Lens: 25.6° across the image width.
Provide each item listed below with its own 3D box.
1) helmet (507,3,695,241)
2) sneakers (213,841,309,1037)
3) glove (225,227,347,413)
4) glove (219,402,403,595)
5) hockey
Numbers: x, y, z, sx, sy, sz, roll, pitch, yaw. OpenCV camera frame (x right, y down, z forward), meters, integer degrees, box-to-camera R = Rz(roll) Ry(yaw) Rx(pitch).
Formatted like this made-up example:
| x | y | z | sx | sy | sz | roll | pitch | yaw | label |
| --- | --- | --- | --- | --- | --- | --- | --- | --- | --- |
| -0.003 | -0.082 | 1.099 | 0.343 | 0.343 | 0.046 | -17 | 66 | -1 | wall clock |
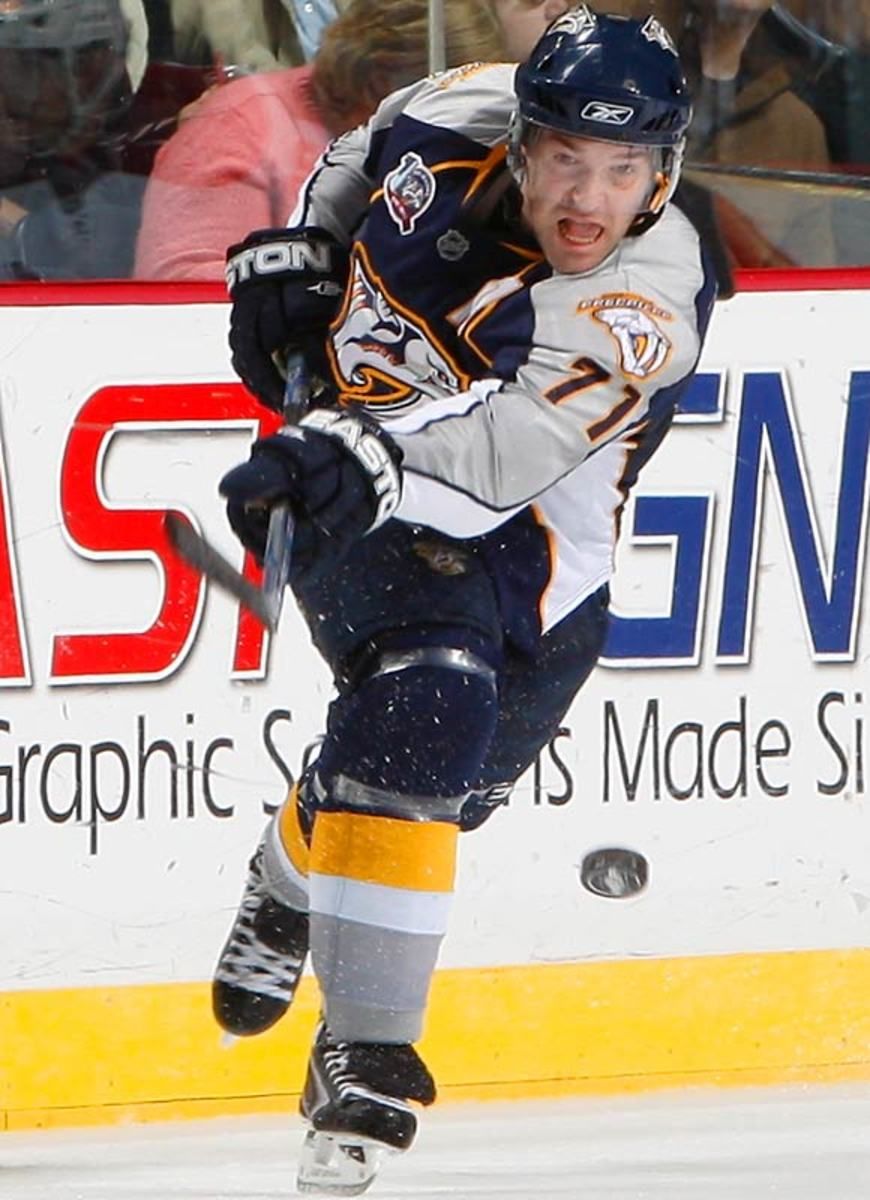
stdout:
| x | y | z | sx | sy | sz | roll | pitch | yaw | label |
| --- | --- | --- | --- | --- | --- | --- | --- | --- | --- |
| 0.214 | -0.640 | 2.557 | 0.235 | 0.299 | 0.172 | 6 | 14 | 10 | helmet |
| -0.287 | 0.553 | 3.004 | 0.124 | 0.319 | 0.136 | 14 | 8 | -14 | sneakers |
| -0.226 | -0.414 | 2.855 | 0.225 | 0.238 | 0.244 | -3 | 2 | -5 | glove |
| -0.152 | -0.126 | 2.348 | 0.225 | 0.203 | 0.097 | -7 | 18 | -37 | glove |
| -0.195 | -0.172 | 2.520 | 0.132 | 0.141 | 0.531 | 26 | 38 | -8 | hockey |
